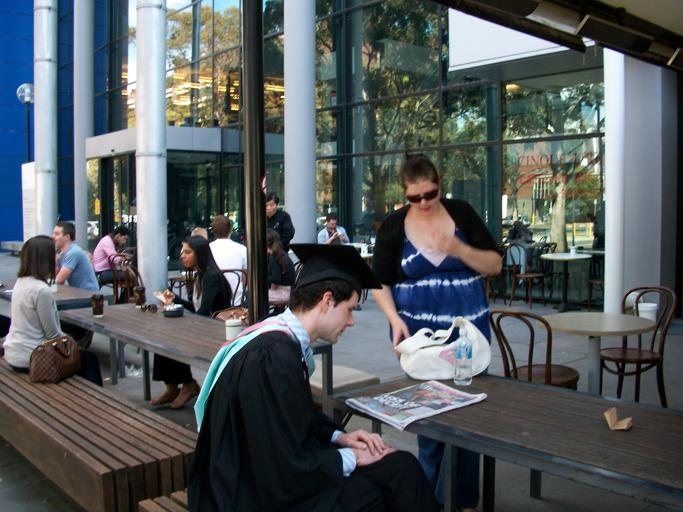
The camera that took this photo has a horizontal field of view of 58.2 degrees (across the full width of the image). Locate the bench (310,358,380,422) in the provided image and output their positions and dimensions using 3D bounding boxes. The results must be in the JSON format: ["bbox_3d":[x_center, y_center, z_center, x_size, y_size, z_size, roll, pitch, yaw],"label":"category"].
[{"bbox_3d":[-0.059,1.111,4.722,0.400,0.321,0.659,-22,-25,21],"label":"bench"}]

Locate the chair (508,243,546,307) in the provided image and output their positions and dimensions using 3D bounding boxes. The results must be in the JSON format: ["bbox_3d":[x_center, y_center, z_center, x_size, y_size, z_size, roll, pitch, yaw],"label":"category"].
[{"bbox_3d":[3.424,0.311,11.303,0.494,1.190,0.582,-3,2,-27],"label":"chair"}]

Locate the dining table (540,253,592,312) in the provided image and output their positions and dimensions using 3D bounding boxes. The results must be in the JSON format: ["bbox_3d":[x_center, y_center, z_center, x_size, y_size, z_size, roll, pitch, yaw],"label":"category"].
[{"bbox_3d":[3.874,0.388,10.546,0.922,1.104,0.893,-10,11,-44],"label":"dining table"}]

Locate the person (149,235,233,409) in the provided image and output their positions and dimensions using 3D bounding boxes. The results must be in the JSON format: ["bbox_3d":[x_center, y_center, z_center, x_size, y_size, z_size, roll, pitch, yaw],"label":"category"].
[{"bbox_3d":[-1.575,0.679,6.425,0.870,1.723,0.563,3,-8,-29],"label":"person"}]

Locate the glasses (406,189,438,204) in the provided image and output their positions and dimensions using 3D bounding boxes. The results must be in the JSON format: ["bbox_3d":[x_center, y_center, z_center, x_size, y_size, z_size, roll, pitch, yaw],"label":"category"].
[{"bbox_3d":[0.496,-0.357,3.762,0.188,0.077,0.093,-3,4,10],"label":"glasses"}]

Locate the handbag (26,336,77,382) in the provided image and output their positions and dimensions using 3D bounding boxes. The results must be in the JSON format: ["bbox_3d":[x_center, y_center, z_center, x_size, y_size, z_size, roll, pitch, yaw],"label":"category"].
[{"bbox_3d":[-2.463,0.891,5.297,0.229,0.360,0.469,-2,0,3],"label":"handbag"}]

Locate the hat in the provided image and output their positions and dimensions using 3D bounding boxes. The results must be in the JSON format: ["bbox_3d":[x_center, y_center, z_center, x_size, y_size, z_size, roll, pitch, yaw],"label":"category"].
[{"bbox_3d":[-0.010,0.063,3.226,0.275,0.099,0.300,23,-19,-30],"label":"hat"}]

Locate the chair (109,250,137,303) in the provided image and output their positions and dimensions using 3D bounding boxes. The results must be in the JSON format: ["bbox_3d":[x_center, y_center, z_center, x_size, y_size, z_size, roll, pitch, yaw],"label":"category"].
[{"bbox_3d":[-3.885,0.331,10.488,0.412,0.632,0.472,-20,6,-34],"label":"chair"}]

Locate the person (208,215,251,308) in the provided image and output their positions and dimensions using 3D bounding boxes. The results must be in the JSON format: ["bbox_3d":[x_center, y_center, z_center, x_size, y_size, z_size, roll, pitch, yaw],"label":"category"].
[{"bbox_3d":[-1.432,0.052,8.226,0.444,1.337,0.735,2,32,7],"label":"person"}]

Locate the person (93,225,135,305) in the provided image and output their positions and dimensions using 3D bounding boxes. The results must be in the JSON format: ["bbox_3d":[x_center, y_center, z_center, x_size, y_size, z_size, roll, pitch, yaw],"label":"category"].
[{"bbox_3d":[-4.009,0.227,10.963,0.774,1.457,0.645,-1,8,-12],"label":"person"}]

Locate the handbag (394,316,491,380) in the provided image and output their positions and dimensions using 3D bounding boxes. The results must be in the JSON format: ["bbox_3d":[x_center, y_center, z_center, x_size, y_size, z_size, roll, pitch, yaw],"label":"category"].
[{"bbox_3d":[0.619,0.595,3.802,0.451,0.210,0.377,-4,8,-2],"label":"handbag"}]
